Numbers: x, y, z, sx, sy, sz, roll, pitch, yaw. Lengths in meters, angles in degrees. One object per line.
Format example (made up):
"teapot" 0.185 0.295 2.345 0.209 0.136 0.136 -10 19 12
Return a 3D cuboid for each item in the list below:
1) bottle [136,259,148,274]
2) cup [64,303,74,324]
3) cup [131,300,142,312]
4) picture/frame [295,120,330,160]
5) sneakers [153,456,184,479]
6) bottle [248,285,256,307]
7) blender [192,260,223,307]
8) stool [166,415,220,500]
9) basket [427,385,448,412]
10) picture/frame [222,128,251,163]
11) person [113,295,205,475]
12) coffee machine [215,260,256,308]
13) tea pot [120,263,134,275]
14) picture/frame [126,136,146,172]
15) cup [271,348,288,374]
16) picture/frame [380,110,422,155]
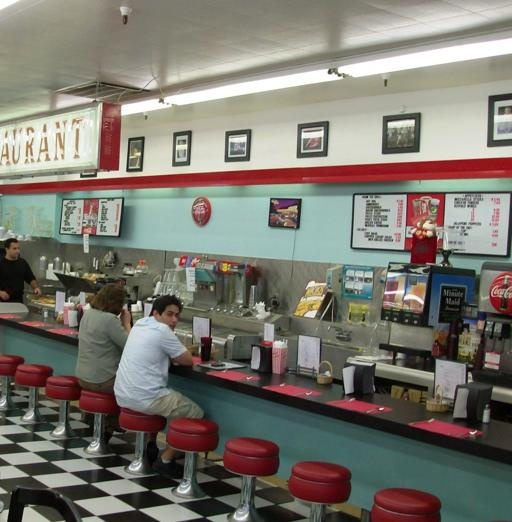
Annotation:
"bottle" -2.028 0.092 7.969 0.123 0.258 0.328 10 -8 -41
"cup" -2.225 0.633 5.386 0.099 0.266 0.206 9 -8 -35
"cup" -1.578 0.602 6.021 0.164 0.135 0.112 3 -3 -14
"picture/frame" 0.722 -1.528 5.711 0.037 0.411 0.482 -14 18 -43
"sneakers" -0.663 1.598 3.538 0.245 0.094 0.127 12 9 12
"bottle" -0.043 0.477 6.043 0.091 0.289 0.134 5 -6 -1
"blender" -0.614 0.294 6.559 0.626 0.637 0.625 2 6 3
"stool" -0.448 1.376 3.175 0.352 0.445 0.338 -2 -14 25
"basket" 1.024 0.785 2.611 0.138 0.127 0.130 2 2 15
"picture/frame" -0.262 -1.668 6.549 0.032 0.427 0.477 21 29 39
"person" -0.736 0.936 3.469 0.663 1.352 0.369 6 -7 -14
"coffee machine" -0.284 0.332 6.192 0.636 0.579 0.311 3 -6 12
"tea pot" -2.295 0.139 8.120 0.188 0.172 0.303 1 5 -13
"picture/frame" -2.143 -1.899 8.058 0.514 0.631 0.154 -2 -9 43
"cup" 0.183 0.762 3.477 0.119 0.200 0.094 5 -6 -9
"picture/frame" 1.600 -1.409 4.932 0.594 0.525 0.040 3 3 43
